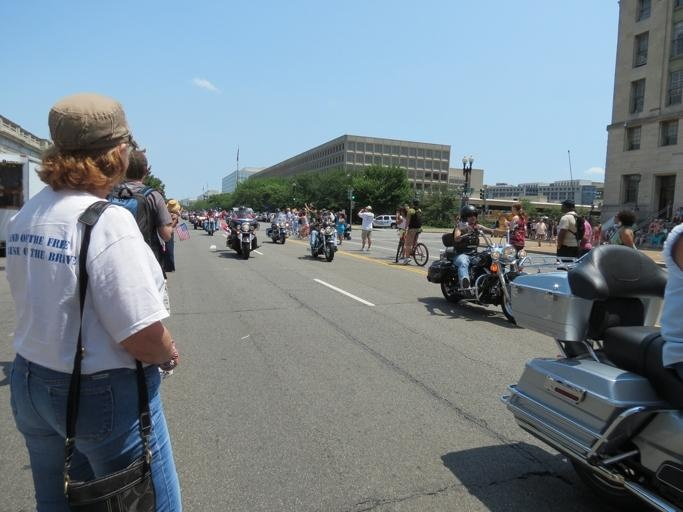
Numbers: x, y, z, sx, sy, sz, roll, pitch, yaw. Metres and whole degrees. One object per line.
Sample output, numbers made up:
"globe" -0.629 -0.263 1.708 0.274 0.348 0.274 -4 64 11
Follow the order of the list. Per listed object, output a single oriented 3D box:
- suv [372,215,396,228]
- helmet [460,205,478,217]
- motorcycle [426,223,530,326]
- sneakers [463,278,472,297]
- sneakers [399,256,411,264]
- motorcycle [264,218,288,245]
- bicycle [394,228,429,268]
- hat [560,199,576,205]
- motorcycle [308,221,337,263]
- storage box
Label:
"suv" 4.922 -3.910 57.070 2.515 1.210 1.474 3 5 6
"helmet" 2.129 -0.773 8.413 0.213 0.195 0.181 0 25 21
"motorcycle" 2.330 0.276 8.416 0.792 1.193 1.931 1 1 -20
"sneakers" 2.031 0.498 8.141 0.098 0.302 0.110 -4 -15 15
"sneakers" 2.050 0.128 16.307 0.184 0.247 0.537 -5 -5 10
"motorcycle" -3.042 -1.121 23.941 0.645 0.821 1.370 -1 3 -21
"bicycle" 2.312 -0.131 16.186 0.618 0.983 1.501 1 1 -23
"hat" 4.742 -1.141 10.521 0.221 0.105 0.320 3 5 17
"motorcycle" -0.551 -0.466 16.457 0.749 1.181 1.309 -2 10 -15
"storage box" 1.567 0.286 3.698 0.416 0.392 0.547 -1 4 -19
